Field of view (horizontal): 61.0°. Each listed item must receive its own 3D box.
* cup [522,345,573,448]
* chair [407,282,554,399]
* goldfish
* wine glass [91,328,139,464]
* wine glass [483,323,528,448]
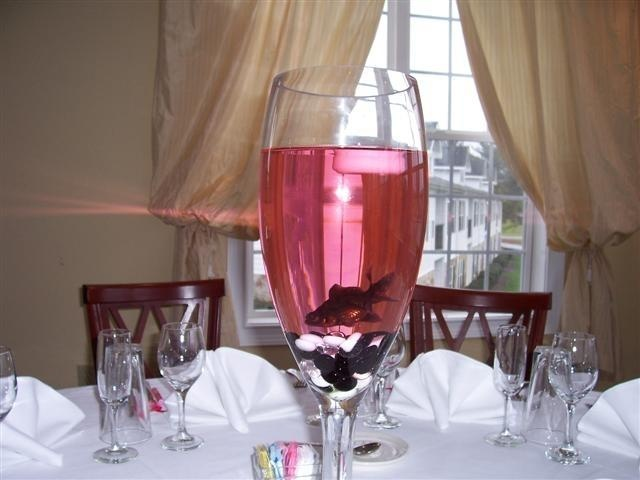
[{"bbox_3d":[0.474,0.346,1.157,0.075,0.224,0.084,2,6,8],"label":"cup"},{"bbox_3d":[0.537,0.285,2.004,0.382,0.458,0.373,1,4,-11],"label":"chair"},{"bbox_3d":[0.032,0.063,0.518,0.093,0.051,0.033,-16,-12,-15],"label":"goldfish"},{"bbox_3d":[-0.425,0.315,1.112,0.076,0.249,0.085,-4,-6,11],"label":"wine glass"},{"bbox_3d":[0.404,0.305,1.175,0.071,0.259,0.087,8,7,43],"label":"wine glass"}]
